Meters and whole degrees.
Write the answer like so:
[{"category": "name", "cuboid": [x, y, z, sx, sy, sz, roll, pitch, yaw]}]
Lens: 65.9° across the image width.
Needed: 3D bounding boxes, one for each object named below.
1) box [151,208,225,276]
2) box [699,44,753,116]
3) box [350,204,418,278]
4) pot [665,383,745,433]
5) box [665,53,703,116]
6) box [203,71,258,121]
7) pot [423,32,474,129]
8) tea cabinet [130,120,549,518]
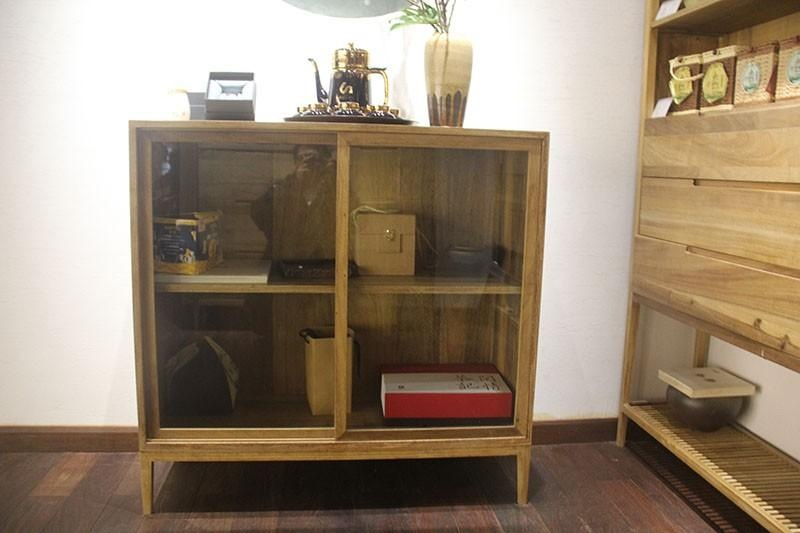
[{"category": "box", "cuboid": [-0.767, -0.081, 2.248, 0.274, 0.191, 0.264, -4, 13, -25]}, {"category": "box", "cuboid": [1.173, -0.684, 2.276, 0.169, 0.193, 0.171, -6, 14, -13]}, {"category": "box", "cuboid": [-0.077, -0.099, 2.232, 0.241, 0.234, 0.242, 1, 12, -6]}, {"category": "pot", "cuboid": [1.226, 0.584, 2.482, 0.220, 0.107, 0.215, 3, 0, 0]}, {"category": "box", "cuboid": [1.083, -0.698, 2.389, 0.148, 0.195, 0.171, -3, 15, 7]}, {"category": "box", "cuboid": [-0.599, -0.600, 2.188, 0.178, 0.169, 0.111, -1, -13, -7]}, {"category": "pot", "cuboid": [0.197, -0.696, 2.355, 0.216, 0.337, 0.206, 0, 10, 0]}, {"category": "tea cabinet", "cuboid": [-0.230, 0.150, 2.214, 1.519, 1.298, 0.516, 0, 3, -2]}]
